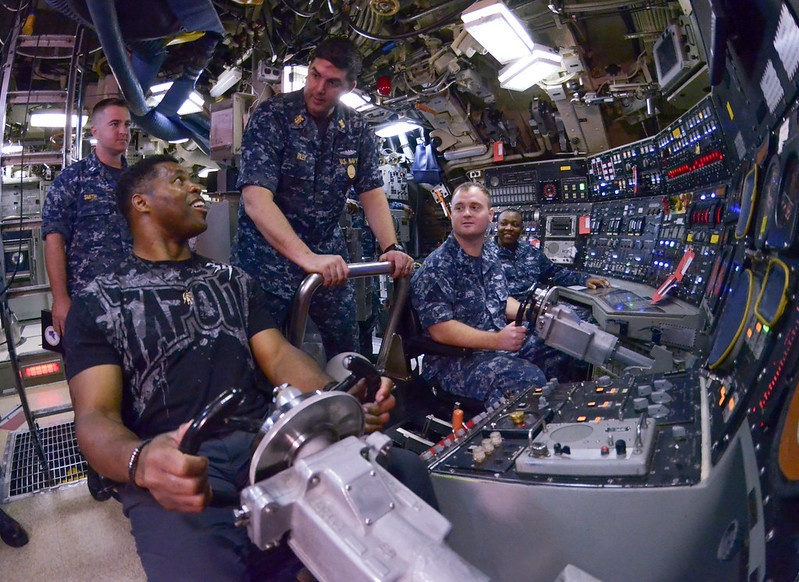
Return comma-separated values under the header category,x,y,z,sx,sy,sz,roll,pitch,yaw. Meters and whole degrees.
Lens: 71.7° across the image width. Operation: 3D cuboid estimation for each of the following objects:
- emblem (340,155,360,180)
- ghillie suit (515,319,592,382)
category,x,y,z,sx,sy,sz,roll,pitch,yaw
emblem,-0.279,-0.704,3.127,0.092,0.125,0.117,8,-14,-25
ghillie suit,0.881,0.355,3.229,0.378,0.176,0.496,14,13,-28
